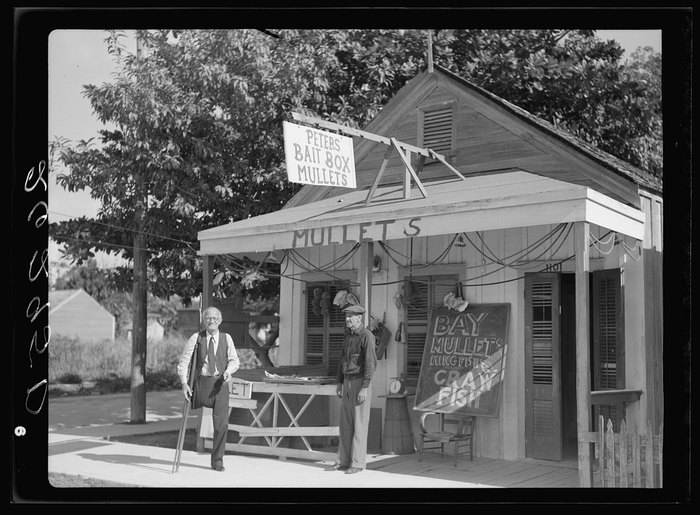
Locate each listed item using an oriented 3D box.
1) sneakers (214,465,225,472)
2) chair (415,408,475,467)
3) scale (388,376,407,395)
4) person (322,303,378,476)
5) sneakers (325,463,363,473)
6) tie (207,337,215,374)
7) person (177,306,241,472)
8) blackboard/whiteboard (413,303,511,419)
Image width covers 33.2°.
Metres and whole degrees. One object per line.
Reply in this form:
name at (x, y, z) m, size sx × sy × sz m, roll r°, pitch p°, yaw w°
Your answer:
sneakers at (-1.973, 3.204, 17.864) m, size 0.141 × 0.067 × 0.068 m, roll -7°, pitch -11°, yaw 29°
chair at (1.566, 2.743, 18.727) m, size 0.702 × 1.156 × 0.621 m, roll 2°, pitch 2°, yaw 38°
scale at (0.785, 2.158, 19.624) m, size 0.251 × 0.305 × 0.207 m, roll -9°, pitch 10°, yaw 13°
person at (0.063, 1.995, 17.787) m, size 0.686 × 2.487 × 0.322 m, roll -3°, pitch -9°, yaw 28°
sneakers at (-0.106, 3.200, 17.825) m, size 0.564 × 0.255 × 0.207 m, roll -5°, pitch -7°, yaw 19°
tie at (-2.065, 1.501, 17.658) m, size 0.121 × 0.542 × 0.074 m, roll 4°, pitch -8°, yaw -16°
person at (-2.142, 1.973, 17.760) m, size 0.857 × 2.447 × 0.540 m, roll 3°, pitch -8°, yaw -11°
blackboard/whiteboard at (1.897, 1.735, 19.151) m, size 1.671 × 2.261 × 0.162 m, roll 1°, pitch -22°, yaw 27°
